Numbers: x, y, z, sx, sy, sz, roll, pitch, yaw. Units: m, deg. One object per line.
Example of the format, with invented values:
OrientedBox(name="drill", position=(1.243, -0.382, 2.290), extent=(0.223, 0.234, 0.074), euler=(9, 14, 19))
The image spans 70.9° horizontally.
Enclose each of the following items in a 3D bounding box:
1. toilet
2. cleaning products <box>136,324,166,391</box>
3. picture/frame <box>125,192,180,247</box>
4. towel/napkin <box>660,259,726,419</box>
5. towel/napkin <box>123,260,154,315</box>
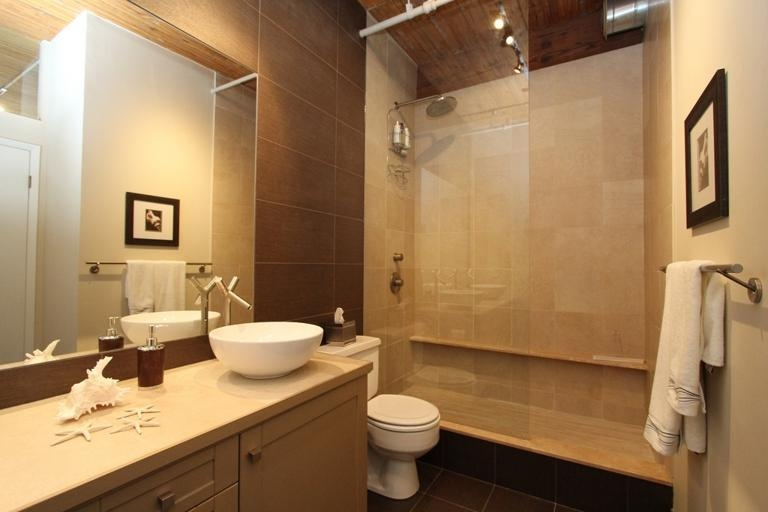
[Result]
OrientedBox(name="toilet", position=(0.012, 1.087, 3.828), extent=(0.986, 1.082, 0.683), euler=(-2, -2, 30))
OrientedBox(name="cleaning products", position=(-1.091, 0.462, 2.524), extent=(0.115, 0.311, 0.127), euler=(-4, 1, -27))
OrientedBox(name="picture/frame", position=(-1.158, -0.186, 2.682), extent=(0.275, 0.305, 0.021), euler=(1, 0, -44))
OrientedBox(name="towel/napkin", position=(1.420, 0.382, 2.568), extent=(0.215, 0.521, 0.370), euler=(-3, 1, -6))
OrientedBox(name="towel/napkin", position=(-1.222, 0.169, 2.682), extent=(0.050, 0.272, 0.130), euler=(-7, -2, -20))
